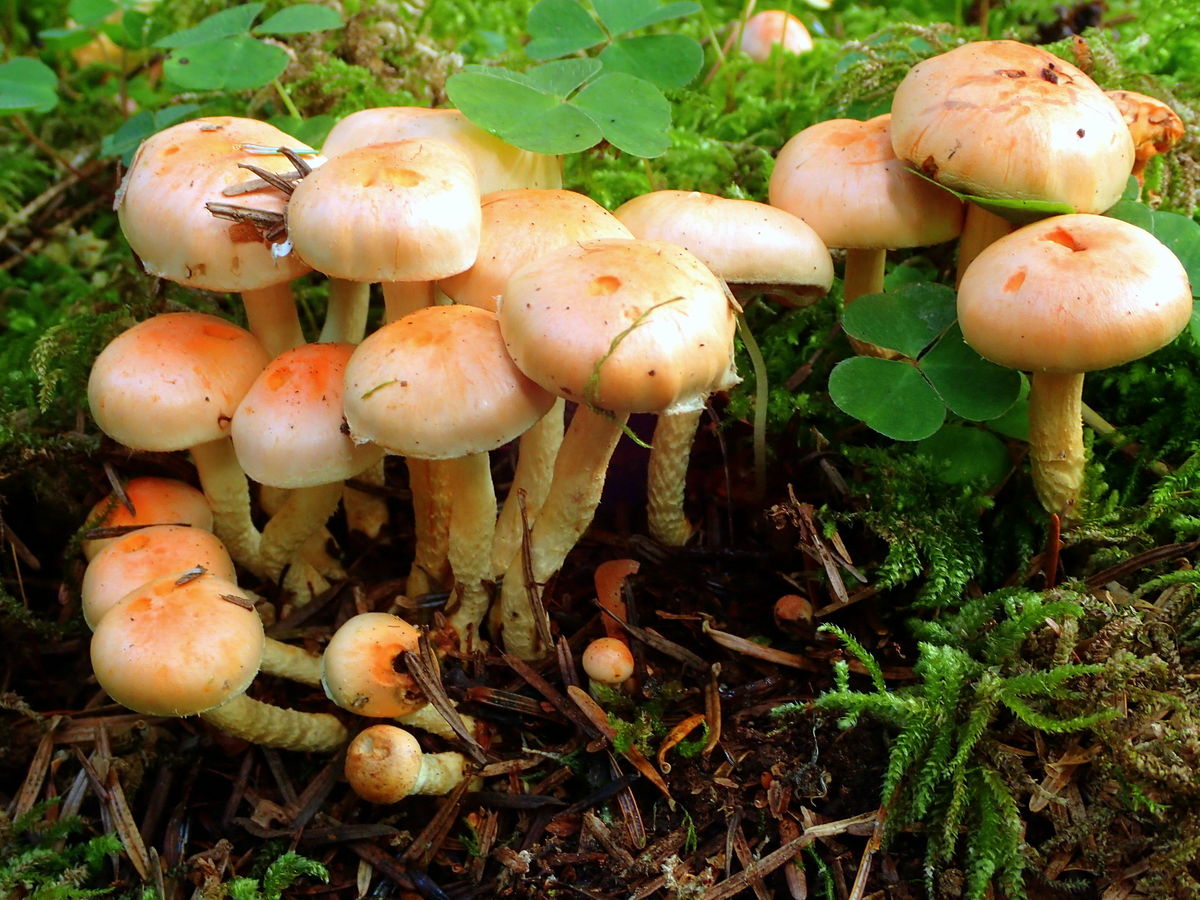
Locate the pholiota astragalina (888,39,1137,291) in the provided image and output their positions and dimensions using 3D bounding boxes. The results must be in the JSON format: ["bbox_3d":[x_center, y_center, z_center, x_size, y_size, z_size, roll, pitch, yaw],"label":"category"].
[{"bbox_3d":[1.127,-0.907,3.291,0.617,0.587,0.576,-21,56,-27],"label":"pholiota astragalina"}]

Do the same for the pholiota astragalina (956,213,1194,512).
[{"bbox_3d":[1.369,-0.257,3.282,0.540,0.745,0.519,-23,38,-8],"label":"pholiota astragalina"}]
